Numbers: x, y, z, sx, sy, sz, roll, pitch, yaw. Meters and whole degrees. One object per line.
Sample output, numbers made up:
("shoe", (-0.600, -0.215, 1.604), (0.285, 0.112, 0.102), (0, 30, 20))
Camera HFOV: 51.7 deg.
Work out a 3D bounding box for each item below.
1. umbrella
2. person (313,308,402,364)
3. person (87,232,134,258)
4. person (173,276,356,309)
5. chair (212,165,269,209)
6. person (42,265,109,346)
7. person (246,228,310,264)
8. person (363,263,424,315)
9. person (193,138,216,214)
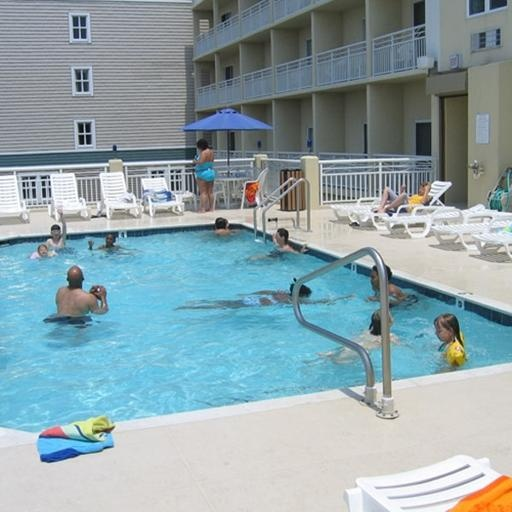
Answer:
("umbrella", (-0.901, -3.399, 16.880), (2.544, 2.244, 2.512), (3, 12, 18))
("person", (1.174, 0.806, 5.812), (0.916, 0.328, 0.623), (-21, 24, -36))
("person", (-3.029, -0.238, 10.998), (1.026, 0.447, 0.752), (-6, 12, -30))
("person", (0.086, 0.614, 7.998), (2.497, 0.247, 0.748), (0, 11, -2))
("chair", (-0.574, -2.197, 17.243), (1.738, 1.079, 1.544), (4, 14, 13))
("person", (-2.299, 0.524, 6.664), (0.786, 0.894, 0.815), (-4, 12, -19))
("person", (0.341, -0.175, 10.611), (1.596, 0.694, 1.158), (-5, -4, 16))
("person", (1.891, 0.426, 7.054), (0.819, 0.483, 0.436), (5, 11, -18))
("person", (-1.511, -2.360, 15.502), (0.597, 2.110, 0.821), (-2, 11, -6))
